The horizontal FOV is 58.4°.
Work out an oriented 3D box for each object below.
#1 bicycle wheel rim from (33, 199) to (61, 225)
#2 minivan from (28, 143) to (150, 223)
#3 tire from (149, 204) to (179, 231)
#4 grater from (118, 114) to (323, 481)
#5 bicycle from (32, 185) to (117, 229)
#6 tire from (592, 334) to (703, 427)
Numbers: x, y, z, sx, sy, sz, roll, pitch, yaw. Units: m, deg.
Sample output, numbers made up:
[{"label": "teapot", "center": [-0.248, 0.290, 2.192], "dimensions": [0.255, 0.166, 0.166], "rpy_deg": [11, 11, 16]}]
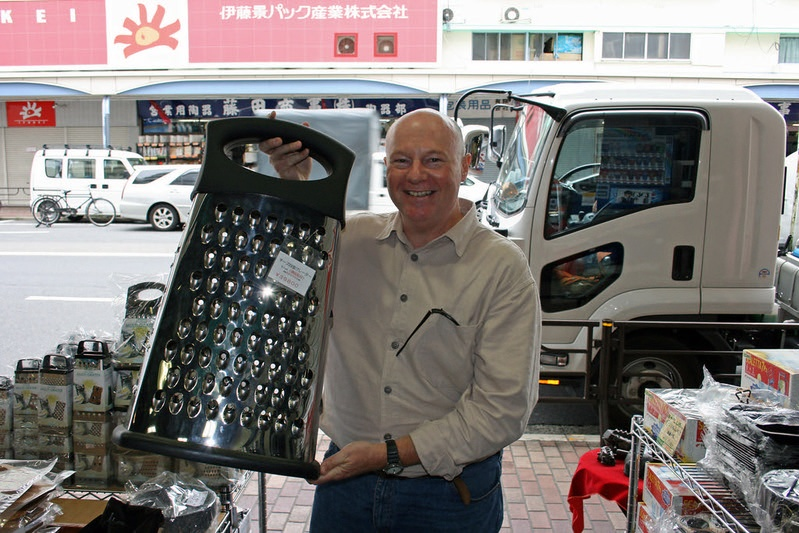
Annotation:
[{"label": "bicycle wheel rim", "center": [-7.594, -1.171, 15.287], "dimensions": [0.576, 0.622, 0.220], "rpy_deg": [2, 5, 8]}, {"label": "minivan", "center": [-6.998, -1.782, 15.907], "dimensions": [2.100, 1.454, 1.468], "rpy_deg": [0, 5, -6]}, {"label": "tire", "center": [-4.869, -1.023, 14.616], "dimensions": [0.376, 0.394, 0.138], "rpy_deg": [27, 8, 1]}, {"label": "grater", "center": [-0.560, 0.098, 2.934], "dimensions": [0.746, 1.441, 0.350], "rpy_deg": [10, -19, 1]}, {"label": "bicycle", "center": [-7.099, -1.260, 15.451], "dimensions": [1.667, 0.840, 0.357], "rpy_deg": [-1, -17, -20]}, {"label": "tire", "center": [1.999, 0.929, 6.373], "dimensions": [1.113, 0.861, 0.995], "rpy_deg": [4, -28, 0]}]
